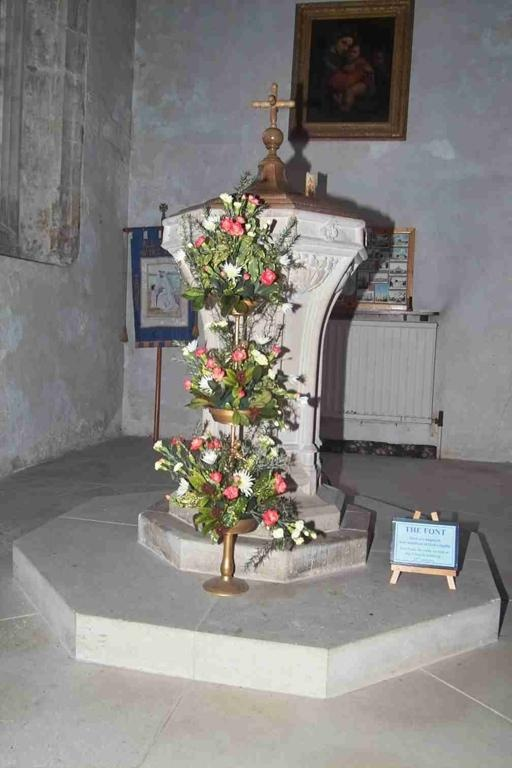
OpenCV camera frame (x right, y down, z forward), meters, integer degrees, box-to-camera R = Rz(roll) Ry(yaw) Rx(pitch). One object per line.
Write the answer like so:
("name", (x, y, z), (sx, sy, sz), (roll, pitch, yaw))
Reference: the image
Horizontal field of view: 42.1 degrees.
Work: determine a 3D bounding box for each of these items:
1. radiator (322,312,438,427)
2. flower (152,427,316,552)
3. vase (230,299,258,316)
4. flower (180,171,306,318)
("radiator", (1.002, -0.143, 5.174), (0.916, 0.816, 0.314), (2, 2, 13))
("flower", (-0.045, 0.314, 2.031), (0.476, 0.361, 0.637), (3, 4, 5))
("vase", (-0.039, -0.218, 1.897), (0.073, 0.048, 0.128), (3, 4, -1))
("flower", (-0.048, -0.424, 2.009), (0.354, 0.450, 0.460), (3, 4, 3))
